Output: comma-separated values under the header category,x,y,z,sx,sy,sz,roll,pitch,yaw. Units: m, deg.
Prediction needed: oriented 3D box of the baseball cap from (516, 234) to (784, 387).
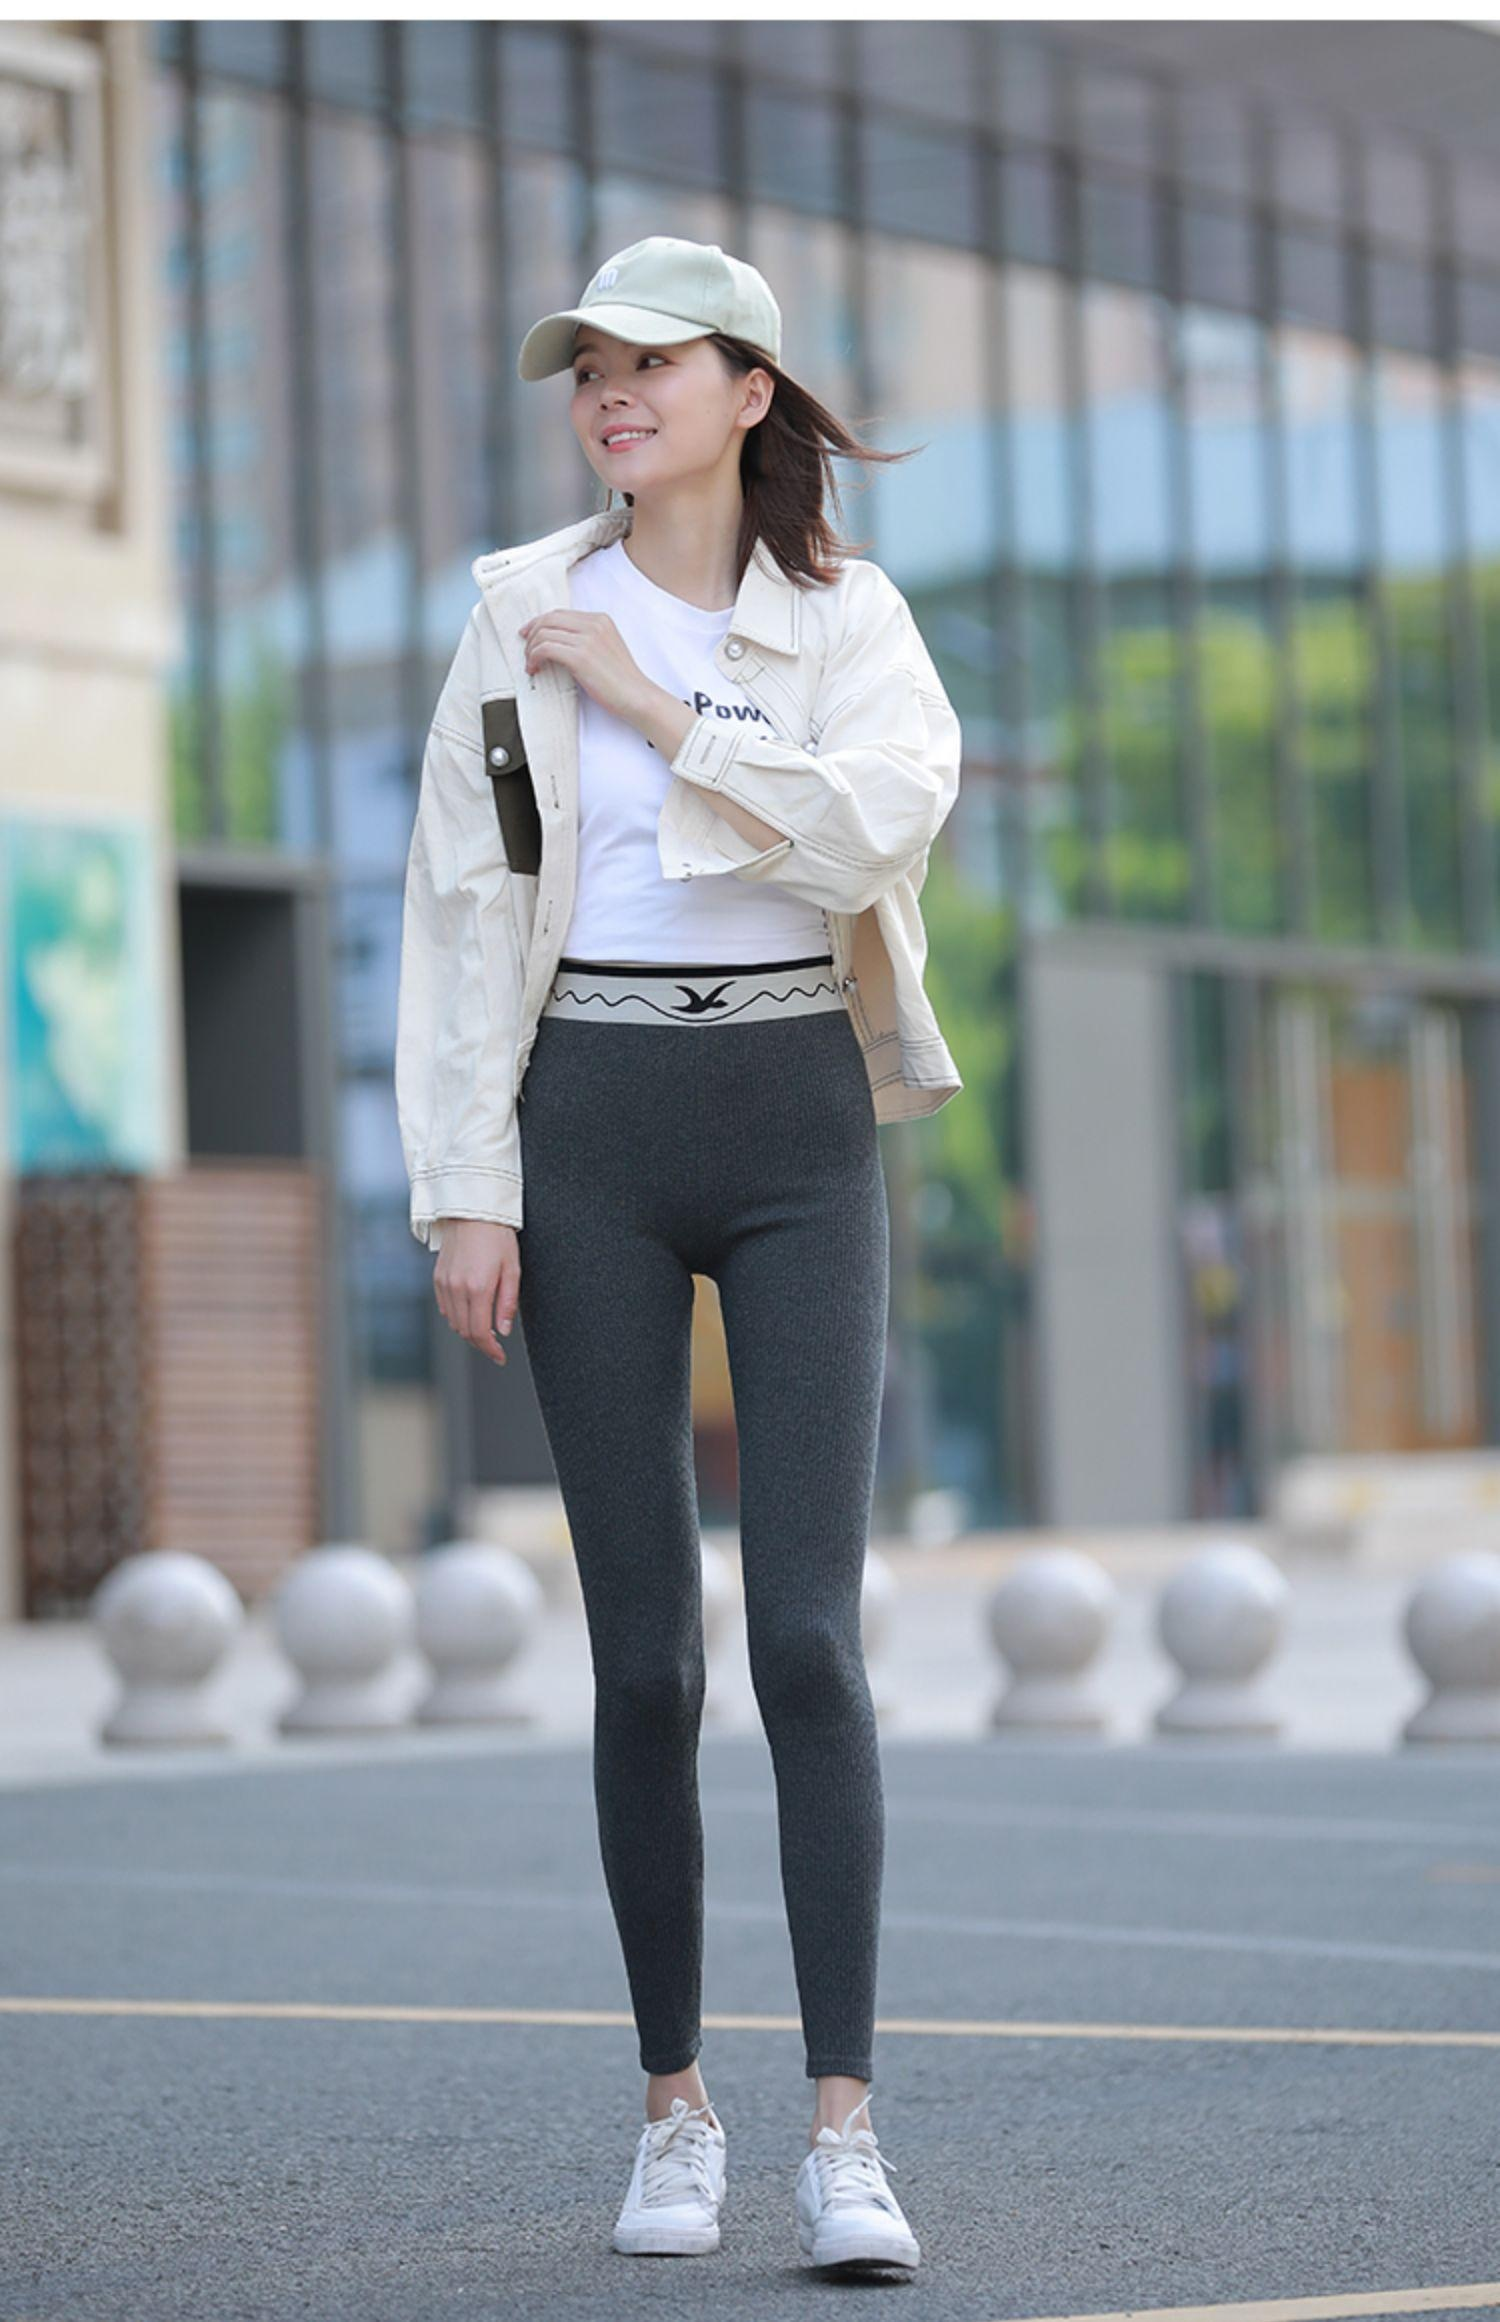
category,x,y,z,sx,sy,sz,roll,pitch,yaw
baseball cap,-0.090,-0.864,3.636,0.210,0.126,0.291,-2,-4,35

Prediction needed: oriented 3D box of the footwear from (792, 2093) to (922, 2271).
category,x,y,z,sx,sy,sz,roll,pitch,yaw
footwear,0.101,0.949,3.296,0.098,0.128,0.151,-1,1,-11

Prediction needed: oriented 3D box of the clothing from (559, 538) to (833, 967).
category,x,y,z,sx,sy,sz,roll,pitch,yaw
clothing,-0.058,-0.459,3.645,0.257,0.355,0.266,25,22,26

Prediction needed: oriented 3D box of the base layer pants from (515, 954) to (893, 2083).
category,x,y,z,sx,sy,sz,roll,pitch,yaw
base layer pants,-0.044,0.371,3.474,0.358,1.037,0.240,-1,2,2
